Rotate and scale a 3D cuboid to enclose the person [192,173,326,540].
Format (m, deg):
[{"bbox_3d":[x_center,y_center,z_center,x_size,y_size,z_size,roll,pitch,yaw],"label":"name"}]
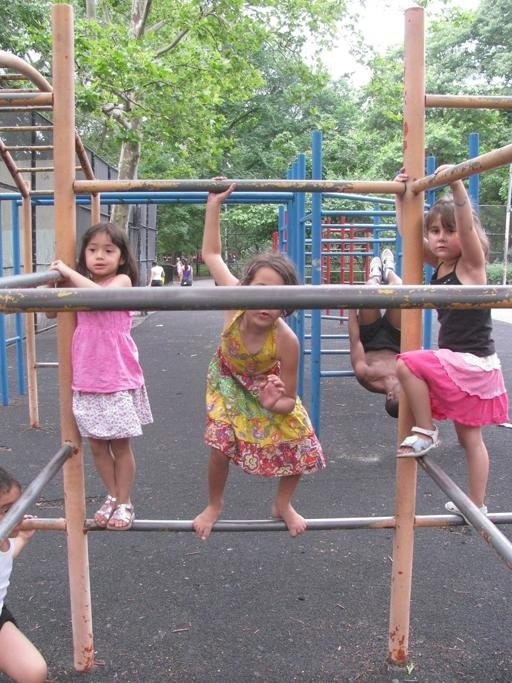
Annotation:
[{"bbox_3d":[0.003,0.093,1.919,0.373,1.020,0.574,0,8,4],"label":"person"}]

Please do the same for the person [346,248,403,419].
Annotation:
[{"bbox_3d":[0.561,-0.045,3.308,0.380,0.758,0.207,-1,-29,4],"label":"person"}]

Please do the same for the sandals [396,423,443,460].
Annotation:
[{"bbox_3d":[0.421,0.259,1.765,0.060,0.052,0.133,-6,-8,38],"label":"sandals"}]

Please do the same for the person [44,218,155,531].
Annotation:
[{"bbox_3d":[-0.451,0.084,2.114,0.242,0.902,0.672,-1,8,-9],"label":"person"}]
